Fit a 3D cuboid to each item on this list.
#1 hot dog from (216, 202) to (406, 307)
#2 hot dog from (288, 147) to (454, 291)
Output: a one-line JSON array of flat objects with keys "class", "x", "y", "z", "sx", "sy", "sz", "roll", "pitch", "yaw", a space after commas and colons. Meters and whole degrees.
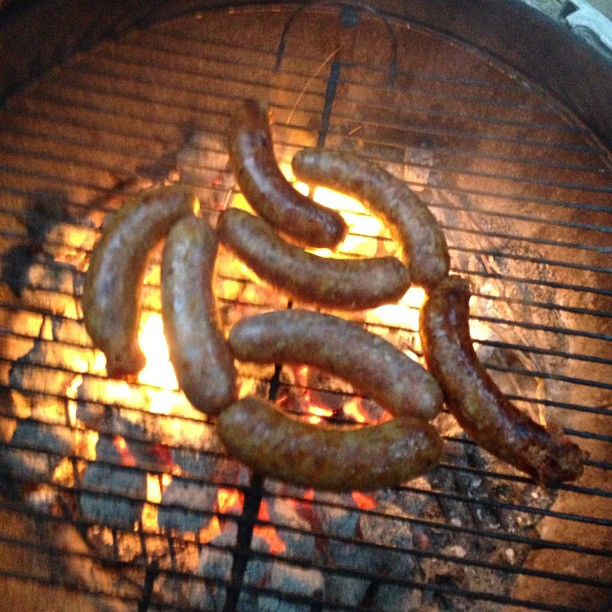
[{"class": "hot dog", "x": 0.003, "y": -0.172, "z": 6.455, "sx": 0.669, "sy": 0.193, "sz": 0.409, "roll": 29, "pitch": 44, "yaw": 1}, {"class": "hot dog", "x": 0.288, "y": -0.454, "z": 6.714, "sx": 0.811, "sy": 0.403, "sz": 0.189, "roll": 42, "pitch": 13, "yaw": 16}]
